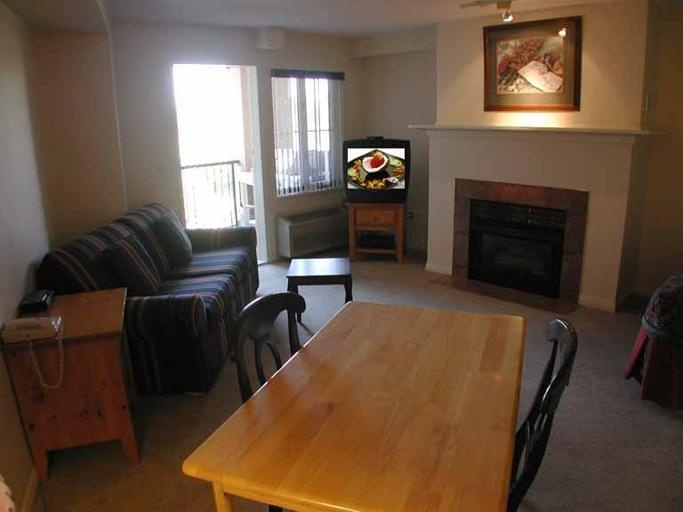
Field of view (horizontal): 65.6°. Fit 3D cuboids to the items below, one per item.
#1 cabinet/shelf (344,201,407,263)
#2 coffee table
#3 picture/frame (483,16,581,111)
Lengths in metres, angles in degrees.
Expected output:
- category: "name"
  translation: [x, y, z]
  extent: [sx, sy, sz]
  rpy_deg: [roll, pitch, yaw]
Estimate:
- category: "cabinet/shelf"
  translation: [0.476, -0.437, 6.624]
  extent: [0.807, 0.884, 0.640]
  rpy_deg: [2, 10, 16]
- category: "coffee table"
  translation: [-0.183, 0.203, 4.878]
  extent: [0.563, 0.478, 0.557]
  rpy_deg: [-1, 12, 2]
- category: "picture/frame"
  translation: [1.831, -1.845, 4.984]
  extent: [0.856, 0.819, 0.069]
  rpy_deg: [9, 24, 33]
